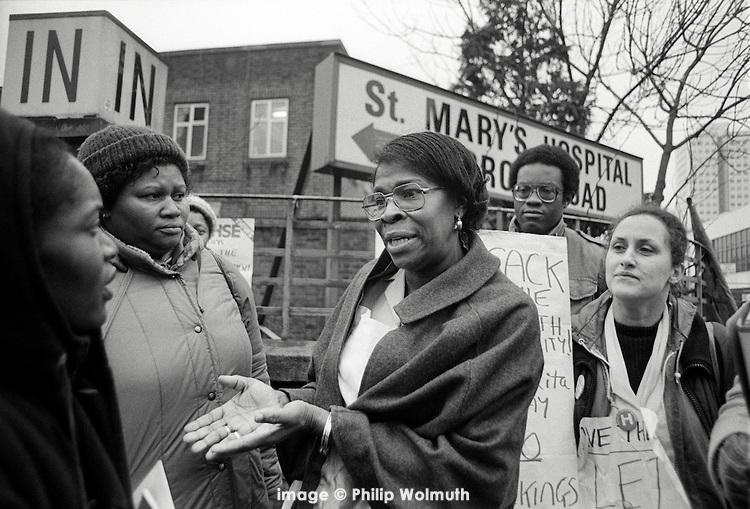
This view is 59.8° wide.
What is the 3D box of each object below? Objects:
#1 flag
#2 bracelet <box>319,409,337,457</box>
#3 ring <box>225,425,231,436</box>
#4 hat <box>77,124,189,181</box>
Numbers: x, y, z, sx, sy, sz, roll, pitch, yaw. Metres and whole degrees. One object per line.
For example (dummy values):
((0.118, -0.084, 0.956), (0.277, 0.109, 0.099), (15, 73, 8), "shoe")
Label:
((3.857, -0.004, 7.511), (0.541, 0.396, 1.931), (-4, -48, 38), "flag")
((-0.210, 0.771, 2.796), (0.055, 0.165, 0.117), (6, 16, 4), "bracelet")
((-0.628, 0.751, 2.770), (0.010, 0.028, 0.022), (-20, 2, -21), "ring")
((-1.227, -0.514, 3.193), (0.354, 0.154, 0.315), (-8, -6, 41), "hat")
